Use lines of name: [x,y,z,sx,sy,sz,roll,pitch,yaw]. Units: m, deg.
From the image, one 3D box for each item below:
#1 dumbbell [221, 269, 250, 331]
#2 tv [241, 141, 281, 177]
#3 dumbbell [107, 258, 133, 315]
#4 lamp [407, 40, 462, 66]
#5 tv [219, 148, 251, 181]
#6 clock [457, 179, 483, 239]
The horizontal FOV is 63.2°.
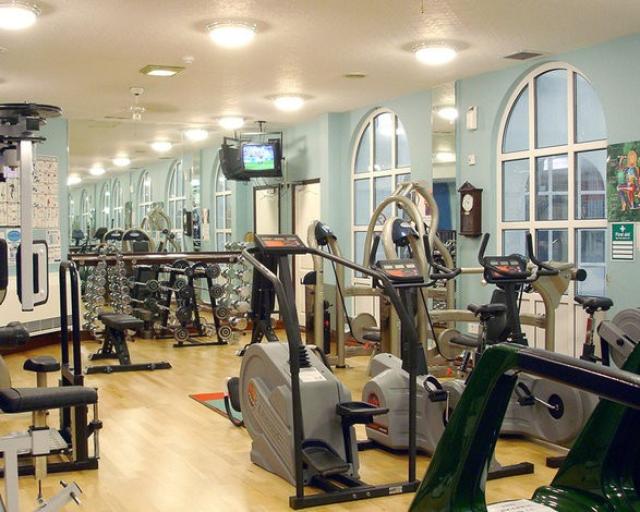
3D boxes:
dumbbell: [-1.346,0.691,8.193,0.376,1.061,0.398,1,4,-35]
tv: [-1.163,-1.841,9.863,0.707,0.606,0.363,-1,1,-28]
dumbbell: [-3.105,0.499,7.985,0.236,0.372,1.202,-3,10,-12]
lamp: [1.319,-2.341,6.051,0.591,0.145,0.499,-3,0,5]
tv: [-1.641,-1.737,10.002,0.518,0.711,0.910,-5,-1,-7]
clock: [2.032,-0.613,7.093,0.165,0.521,0.350,-4,1,-39]
